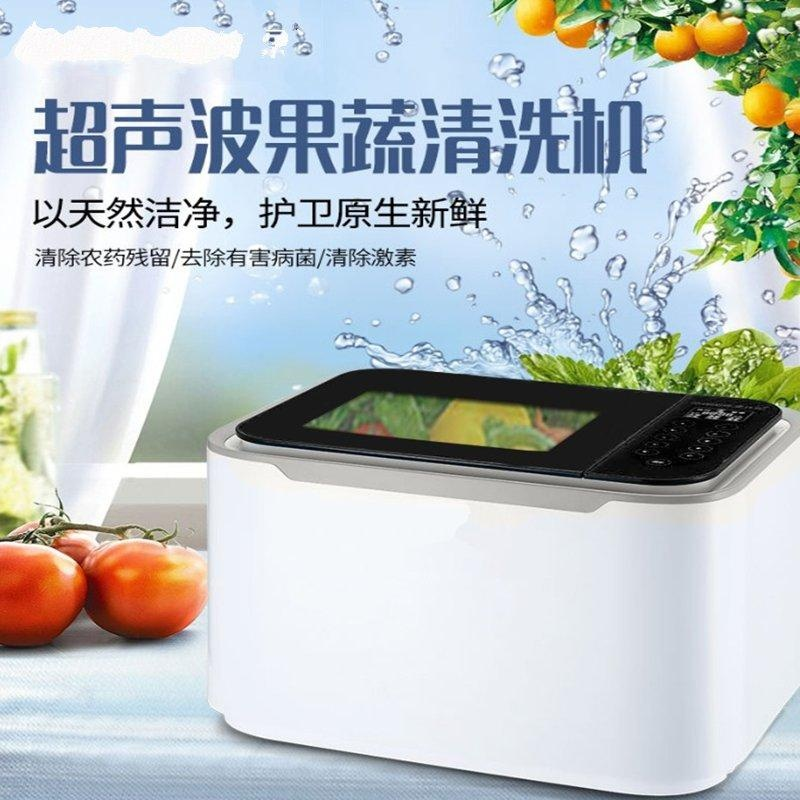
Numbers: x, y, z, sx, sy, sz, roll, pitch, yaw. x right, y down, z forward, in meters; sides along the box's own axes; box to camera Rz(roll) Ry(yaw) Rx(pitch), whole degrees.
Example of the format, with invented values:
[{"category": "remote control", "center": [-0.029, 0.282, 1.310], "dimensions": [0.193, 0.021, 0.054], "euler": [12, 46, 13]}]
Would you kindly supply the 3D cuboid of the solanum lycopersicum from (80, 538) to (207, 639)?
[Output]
[{"category": "solanum lycopersicum", "center": [-0.245, 0.179, 0.804], "dimensions": [0.138, 0.078, 0.110], "euler": [2, -16, -20]}]
